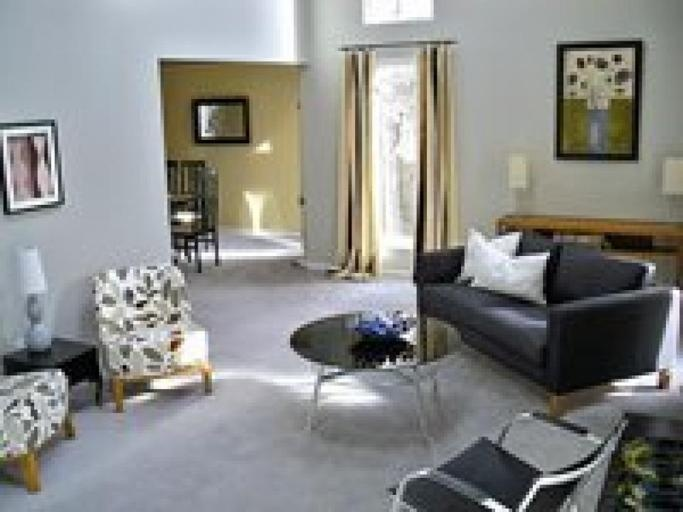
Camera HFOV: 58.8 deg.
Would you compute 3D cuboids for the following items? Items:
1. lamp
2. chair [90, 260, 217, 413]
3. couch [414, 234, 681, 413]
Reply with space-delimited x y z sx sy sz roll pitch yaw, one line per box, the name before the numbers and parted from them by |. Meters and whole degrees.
lamp | -1.930 0.249 3.792 0.172 0.637 0.348 -9 14 -27
chair | -1.304 0.534 4.120 0.648 0.940 0.699 1 -5 -24
couch | 1.436 0.437 4.653 0.874 1.028 2.001 0 7 -14
